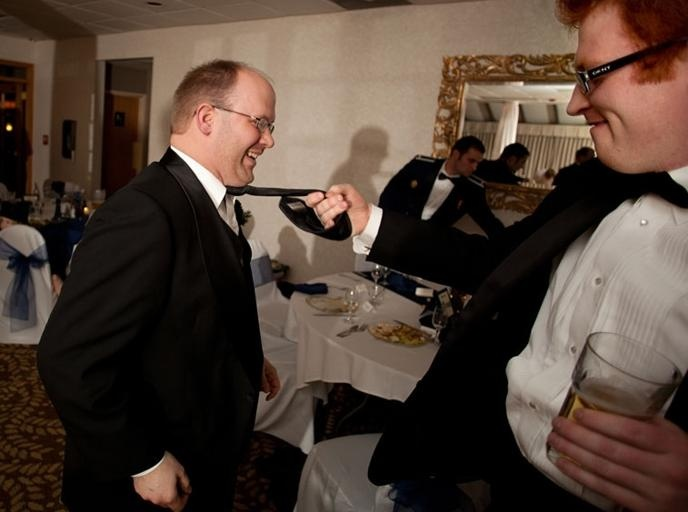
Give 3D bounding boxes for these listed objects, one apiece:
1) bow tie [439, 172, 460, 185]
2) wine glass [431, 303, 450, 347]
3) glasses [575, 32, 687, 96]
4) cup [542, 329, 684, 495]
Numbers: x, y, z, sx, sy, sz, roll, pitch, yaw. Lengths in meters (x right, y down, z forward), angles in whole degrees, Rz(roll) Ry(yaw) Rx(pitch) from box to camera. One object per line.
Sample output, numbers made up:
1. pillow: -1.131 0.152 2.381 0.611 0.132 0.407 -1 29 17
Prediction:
1. bow tie: 0.858 -0.642 4.329 0.123 0.046 0.093 20 25 25
2. wine glass: 0.485 0.354 2.716 0.095 0.168 0.040 26 -30 -7
3. glasses: 0.586 -0.406 1.111 0.115 0.034 0.111 -24 10 9
4. cup: 0.511 0.292 1.006 0.194 0.276 0.098 7 12 2
